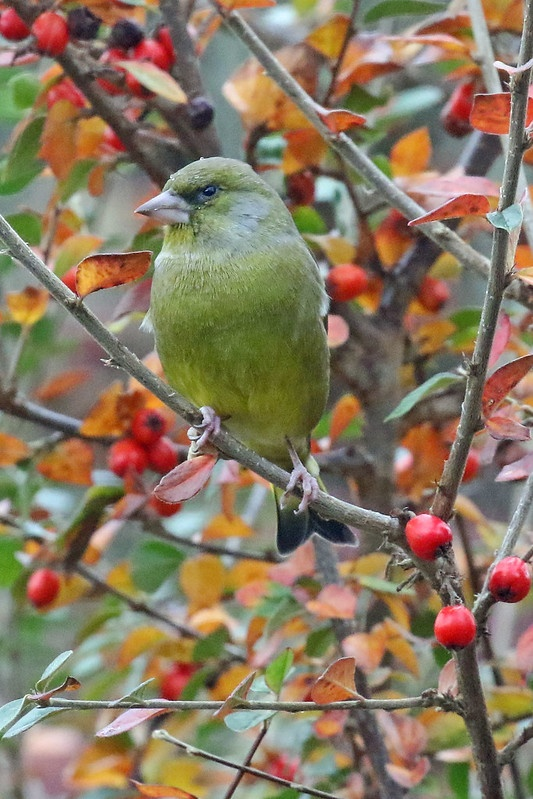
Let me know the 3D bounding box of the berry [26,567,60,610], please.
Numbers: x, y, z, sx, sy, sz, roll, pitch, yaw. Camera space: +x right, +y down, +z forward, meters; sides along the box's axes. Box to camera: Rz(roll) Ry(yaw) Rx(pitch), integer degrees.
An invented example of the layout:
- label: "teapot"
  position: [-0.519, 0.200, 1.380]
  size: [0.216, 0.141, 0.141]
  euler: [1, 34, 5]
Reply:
- label: "berry"
  position: [-0.433, 0.378, 1.848]
  size: [0.074, 0.060, 0.082]
  euler: [6, -43, -5]
